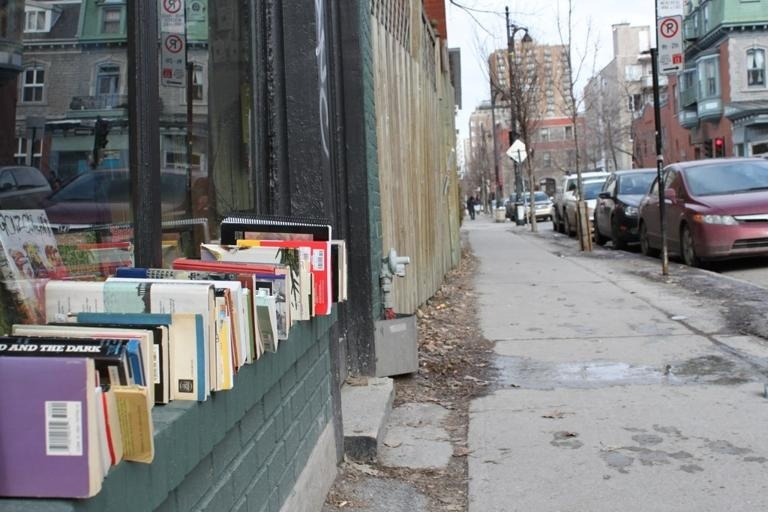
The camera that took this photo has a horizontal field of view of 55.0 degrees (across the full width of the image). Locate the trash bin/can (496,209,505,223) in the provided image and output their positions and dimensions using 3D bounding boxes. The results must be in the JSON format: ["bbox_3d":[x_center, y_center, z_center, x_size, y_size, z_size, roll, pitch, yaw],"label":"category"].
[{"bbox_3d":[6.275,-2.234,40.059,0.484,0.627,1.251,-2,7,12],"label":"trash bin/can"}]
